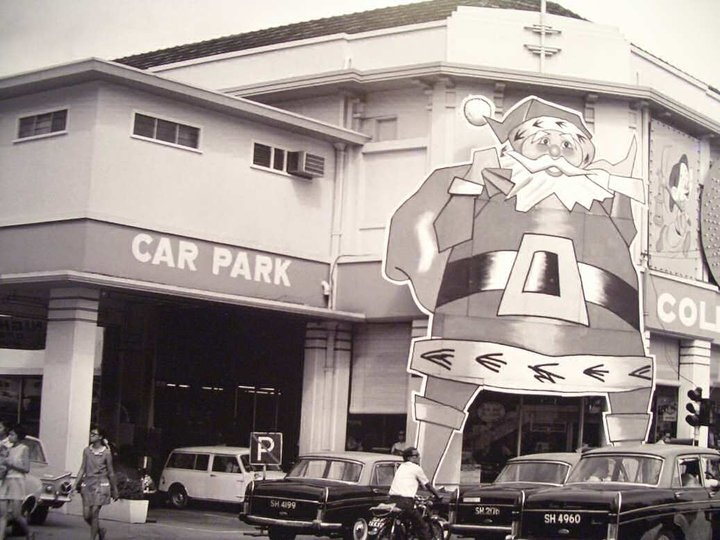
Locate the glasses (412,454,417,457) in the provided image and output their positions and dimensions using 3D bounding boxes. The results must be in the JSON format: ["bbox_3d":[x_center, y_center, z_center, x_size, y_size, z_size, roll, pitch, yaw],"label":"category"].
[{"bbox_3d":[1.056,3.640,17.946,0.098,0.044,0.023,0,-3,-21],"label":"glasses"}]

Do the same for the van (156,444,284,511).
[{"bbox_3d":[-4.254,5.936,26.333,3.043,1.424,1.972,-3,-9,23],"label":"van"}]
